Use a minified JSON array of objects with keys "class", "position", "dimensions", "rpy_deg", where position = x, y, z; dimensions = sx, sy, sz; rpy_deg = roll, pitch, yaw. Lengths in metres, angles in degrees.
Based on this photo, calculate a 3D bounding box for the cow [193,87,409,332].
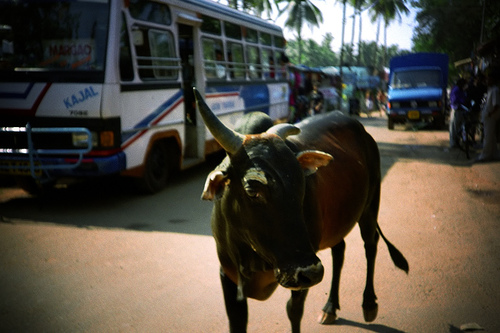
[{"class":"cow","position":[0.495,0.508,3.593],"dimensions":[1.067,2.528,2.084],"rpy_deg":[9,16,35]}]

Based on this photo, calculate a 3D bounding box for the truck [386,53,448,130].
[{"class":"truck","position":[5.269,-2.493,12.582],"dimensions":[1.592,2.160,3.482],"rpy_deg":[2,10,25]}]

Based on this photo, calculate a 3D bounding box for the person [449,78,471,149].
[{"class":"person","position":[5.223,-1.339,9.575],"dimensions":[0.585,1.741,0.644],"rpy_deg":[-11,43,13]}]
